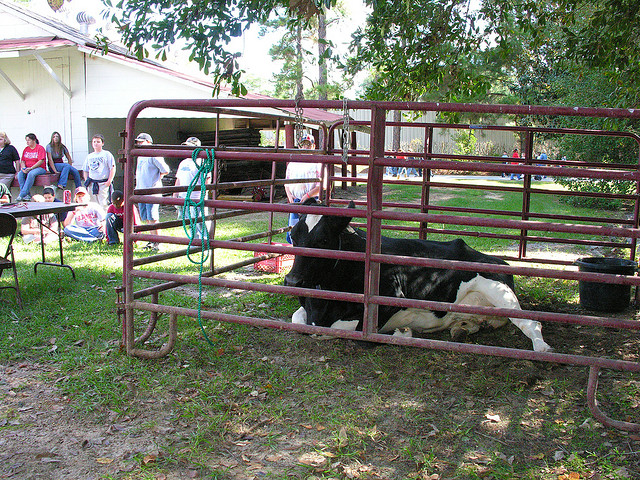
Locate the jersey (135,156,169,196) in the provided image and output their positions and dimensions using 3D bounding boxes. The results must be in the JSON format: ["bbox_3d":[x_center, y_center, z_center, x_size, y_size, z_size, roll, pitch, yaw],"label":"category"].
[{"bbox_3d":[-2.789,-1.137,9.204,0.504,0.513,0.521,-2,5,-16],"label":"jersey"}]

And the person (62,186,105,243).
[{"bbox_3d":[-3.994,-0.434,9.503,0.881,0.908,0.655,-2,12,19],"label":"person"}]

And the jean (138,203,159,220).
[{"bbox_3d":[-2.807,-0.479,9.024,0.235,0.263,0.398,3,-1,-36],"label":"jean"}]

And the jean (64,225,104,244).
[{"bbox_3d":[-4.021,-0.119,9.384,0.419,0.133,0.412,9,5,26],"label":"jean"}]

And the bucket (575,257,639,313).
[{"bbox_3d":[3.005,0.481,5.840,0.629,0.525,0.676,-1,5,0],"label":"bucket"}]

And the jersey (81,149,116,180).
[{"bbox_3d":[-4.248,-1.445,10.656,0.751,0.569,0.286,-4,-3,16],"label":"jersey"}]

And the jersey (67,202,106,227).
[{"bbox_3d":[-3.972,-0.408,9.550,0.781,0.541,0.376,0,-3,-8],"label":"jersey"}]

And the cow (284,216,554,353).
[{"bbox_3d":[0.702,0.405,5.023,1.923,0.768,1.305,0,3,-18],"label":"cow"}]

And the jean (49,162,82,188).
[{"bbox_3d":[-5.581,-1.435,12.155,0.404,0.533,0.597,0,5,5],"label":"jean"}]

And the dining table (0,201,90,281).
[{"bbox_3d":[-3.833,0.038,7.719,1.336,0.750,0.651,-2,1,-32],"label":"dining table"}]
